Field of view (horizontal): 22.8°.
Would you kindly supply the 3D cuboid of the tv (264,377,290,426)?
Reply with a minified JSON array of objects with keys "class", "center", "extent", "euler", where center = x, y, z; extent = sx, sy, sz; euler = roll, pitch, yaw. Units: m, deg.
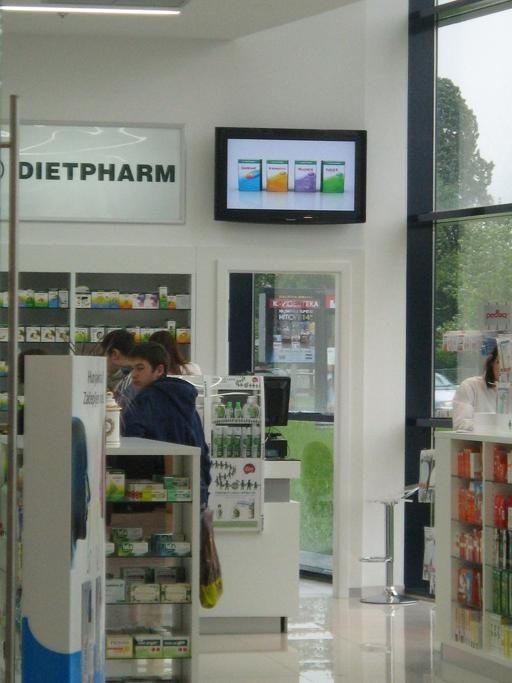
[{"class":"tv","center":[0.123,0.353,7.592],"extent":[0.153,0.331,0.268],"euler":[0,3,-22]}]

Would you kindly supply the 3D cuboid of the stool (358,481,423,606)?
[{"class":"stool","center":[0.858,1.276,8.130],"extent":[0.350,0.799,0.568],"euler":[0,3,5]}]

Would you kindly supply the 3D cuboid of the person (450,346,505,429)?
[{"class":"person","center":[1.255,0.271,7.223],"extent":[0.258,0.481,0.931],"euler":[1,3,9]}]

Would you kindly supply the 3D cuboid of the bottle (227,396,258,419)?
[{"class":"bottle","center":[-0.071,0.374,7.097],"extent":[0.155,0.170,0.096],"euler":[-1,-3,6]}]
